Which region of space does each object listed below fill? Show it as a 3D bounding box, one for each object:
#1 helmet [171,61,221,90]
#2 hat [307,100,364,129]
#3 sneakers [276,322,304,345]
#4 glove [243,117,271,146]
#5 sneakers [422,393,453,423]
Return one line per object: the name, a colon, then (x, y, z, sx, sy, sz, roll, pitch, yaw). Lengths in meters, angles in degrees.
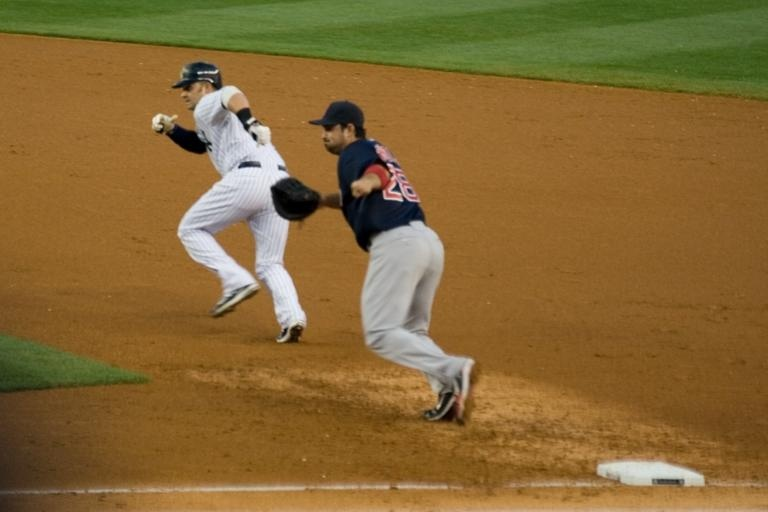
helmet: (-2.433, -2.343, 22.051, 0.586, 0.241, 0.343, -1, 6, -6)
hat: (-0.580, -1.746, 21.086, 0.602, 0.252, 0.349, 4, 6, 0)
sneakers: (-1.201, 0.986, 22.151, 0.186, 0.201, 0.453, -33, -3, -41)
glove: (-1.578, -1.555, 21.480, 0.361, 0.164, 0.266, 39, 16, 19)
sneakers: (0.698, 1.852, 21.011, 0.193, 0.229, 0.560, -40, 8, -32)
